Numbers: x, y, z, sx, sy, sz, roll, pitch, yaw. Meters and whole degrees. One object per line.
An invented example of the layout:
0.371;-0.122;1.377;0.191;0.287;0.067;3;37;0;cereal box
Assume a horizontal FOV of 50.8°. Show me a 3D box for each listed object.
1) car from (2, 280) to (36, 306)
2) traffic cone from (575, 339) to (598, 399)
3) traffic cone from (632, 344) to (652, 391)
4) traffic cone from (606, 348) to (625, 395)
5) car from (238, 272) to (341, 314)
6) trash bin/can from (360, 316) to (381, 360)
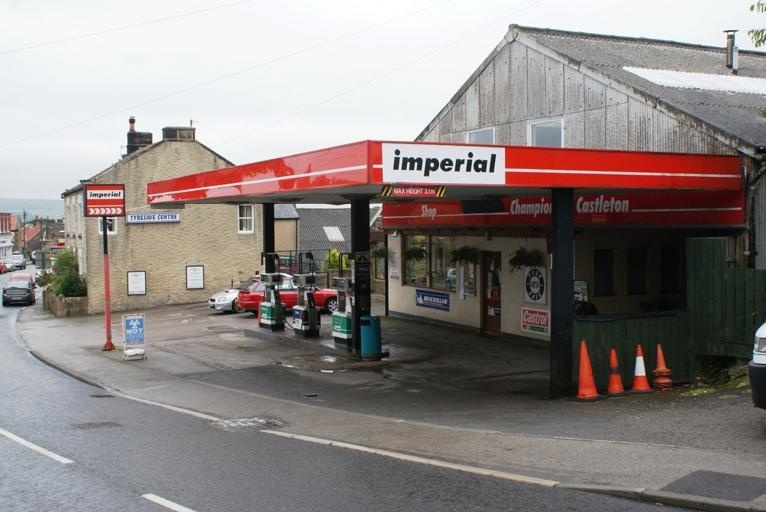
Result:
-21.211;2.093;46.995;1.181;0.921;2.497;-1;4;-19;car
4.558;2.500;18.029;0.469;1.243;0.747;-1;5;14;traffic cone
5.916;2.513;18.492;0.412;1.047;0.820;-1;5;17;traffic cone
5.281;2.579;18.280;0.365;0.995;0.706;-1;5;15;traffic cone
-3.870;1.570;33.059;3.989;1.371;1.784;-3;3;-18;car
-0.369;2.312;23.091;0.601;1.235;0.372;-2;5;-2;trash bin/can
